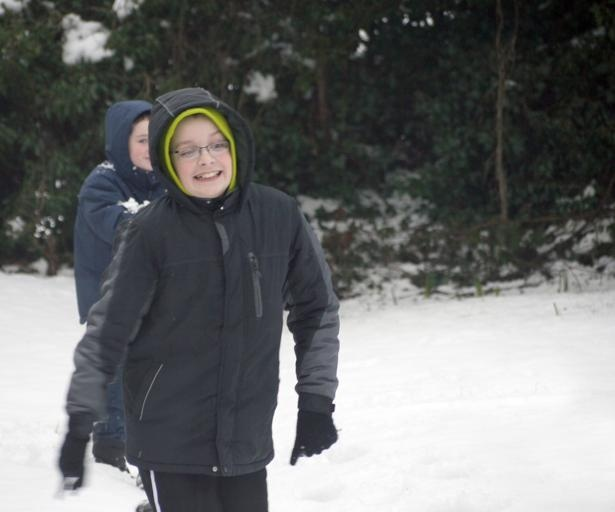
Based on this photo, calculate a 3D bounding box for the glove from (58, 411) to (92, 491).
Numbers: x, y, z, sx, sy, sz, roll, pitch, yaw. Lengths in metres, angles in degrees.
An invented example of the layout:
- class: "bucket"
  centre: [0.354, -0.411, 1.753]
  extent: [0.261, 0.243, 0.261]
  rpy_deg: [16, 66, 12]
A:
- class: "glove"
  centre: [-1.269, 1.062, 5.742]
  extent: [0.181, 0.416, 0.137]
  rpy_deg: [-1, -1, -12]
